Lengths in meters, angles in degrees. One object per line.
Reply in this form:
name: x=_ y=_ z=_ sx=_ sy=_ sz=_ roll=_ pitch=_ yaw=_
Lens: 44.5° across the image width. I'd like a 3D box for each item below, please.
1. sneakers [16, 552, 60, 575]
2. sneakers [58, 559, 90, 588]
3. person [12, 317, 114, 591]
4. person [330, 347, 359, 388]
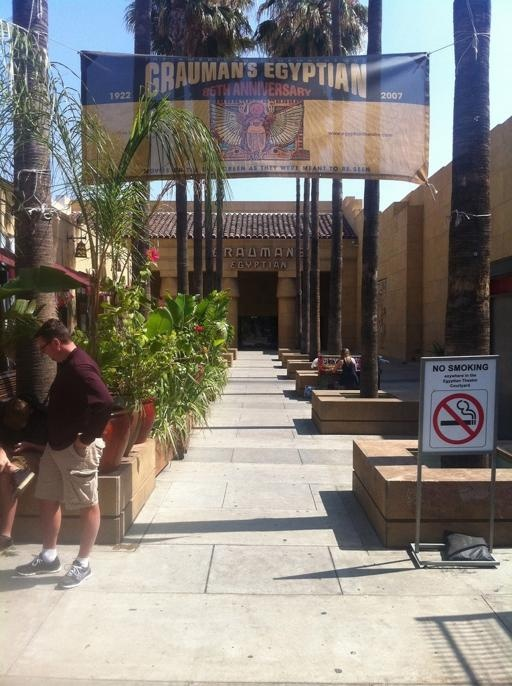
sneakers: x=-1.468 y=1.507 z=4.288 sx=0.286 sy=0.159 sz=0.113 roll=7 pitch=-15 yaw=-18
sneakers: x=-1.175 y=1.507 z=4.118 sx=0.108 sy=0.140 sz=0.276 roll=2 pitch=5 yaw=21
person: x=-1.260 y=0.701 z=4.222 sx=0.488 sy=1.745 sz=0.474 roll=0 pitch=-1 yaw=31
person: x=2.035 y=0.580 z=14.640 sx=0.629 sy=1.462 sz=0.561 roll=-1 pitch=-19 yaw=2
